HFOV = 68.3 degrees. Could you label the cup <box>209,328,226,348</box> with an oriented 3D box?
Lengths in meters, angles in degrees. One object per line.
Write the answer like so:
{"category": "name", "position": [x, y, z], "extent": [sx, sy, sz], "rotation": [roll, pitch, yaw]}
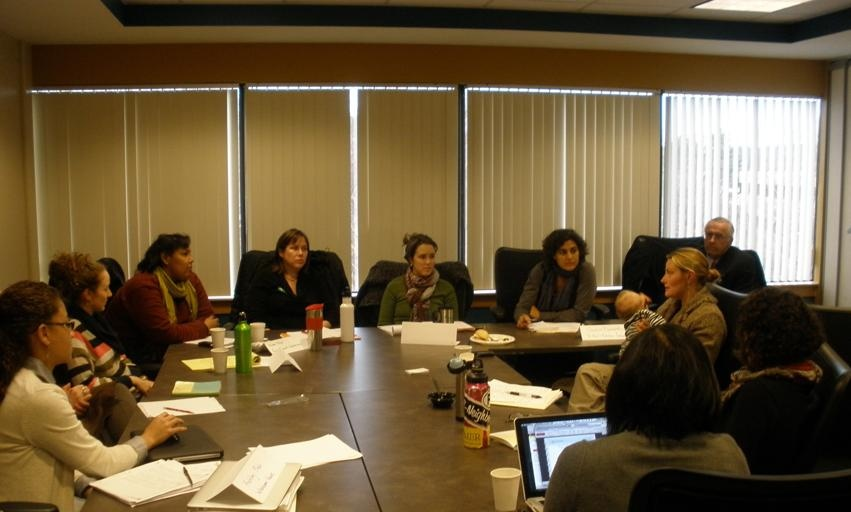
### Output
{"category": "cup", "position": [-1.398, 0.557, 4.280], "extent": [0.129, 0.133, 0.132], "rotation": [0, -3, 0]}

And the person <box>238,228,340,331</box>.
{"category": "person", "position": [-1.094, 0.197, 5.251], "extent": [0.830, 0.823, 0.502], "rotation": [-3, 6, -9]}

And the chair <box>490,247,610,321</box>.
{"category": "chair", "position": [1.145, 0.235, 6.093], "extent": [0.806, 1.177, 0.797], "rotation": [-1, 0, -14]}

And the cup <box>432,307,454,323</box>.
{"category": "cup", "position": [0.134, 0.444, 4.711], "extent": [0.152, 0.144, 0.103], "rotation": [0, 3, 4]}

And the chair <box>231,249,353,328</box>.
{"category": "chair", "position": [-1.003, 0.378, 5.513], "extent": [0.654, 0.678, 0.510], "rotation": [-9, 2, -7]}

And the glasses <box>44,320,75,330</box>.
{"category": "glasses", "position": [-1.896, 0.359, 3.243], "extent": [0.135, 0.041, 0.136], "rotation": [-1, 0, 8]}

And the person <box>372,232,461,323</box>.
{"category": "person", "position": [-0.068, 0.181, 5.365], "extent": [0.733, 1.022, 0.687], "rotation": [1, 1, -2]}

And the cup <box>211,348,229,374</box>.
{"category": "cup", "position": [-1.289, 0.663, 3.942], "extent": [0.139, 0.149, 0.137], "rotation": [-1, -5, 0]}

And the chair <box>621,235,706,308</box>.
{"category": "chair", "position": [2.627, 0.010, 6.645], "extent": [0.932, 0.420, 0.997], "rotation": [-2, 22, 26]}
